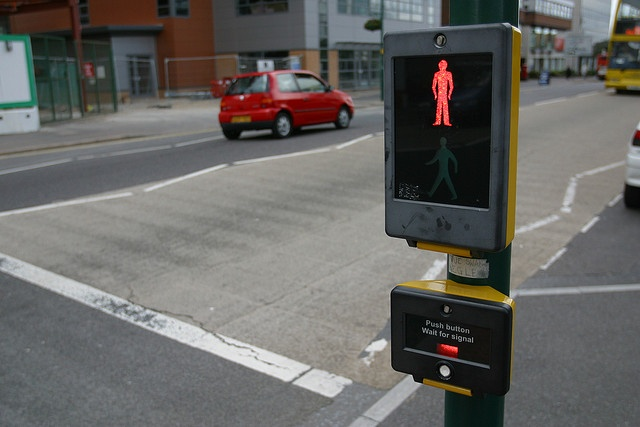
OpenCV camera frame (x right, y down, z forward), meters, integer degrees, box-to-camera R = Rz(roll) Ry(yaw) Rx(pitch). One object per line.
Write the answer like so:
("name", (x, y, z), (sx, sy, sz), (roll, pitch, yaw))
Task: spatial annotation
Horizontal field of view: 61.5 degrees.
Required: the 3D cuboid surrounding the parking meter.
("parking meter", (0.627, 0.570, 2.537), (0.502, 0.482, 0.295), (6, 15, 29))
